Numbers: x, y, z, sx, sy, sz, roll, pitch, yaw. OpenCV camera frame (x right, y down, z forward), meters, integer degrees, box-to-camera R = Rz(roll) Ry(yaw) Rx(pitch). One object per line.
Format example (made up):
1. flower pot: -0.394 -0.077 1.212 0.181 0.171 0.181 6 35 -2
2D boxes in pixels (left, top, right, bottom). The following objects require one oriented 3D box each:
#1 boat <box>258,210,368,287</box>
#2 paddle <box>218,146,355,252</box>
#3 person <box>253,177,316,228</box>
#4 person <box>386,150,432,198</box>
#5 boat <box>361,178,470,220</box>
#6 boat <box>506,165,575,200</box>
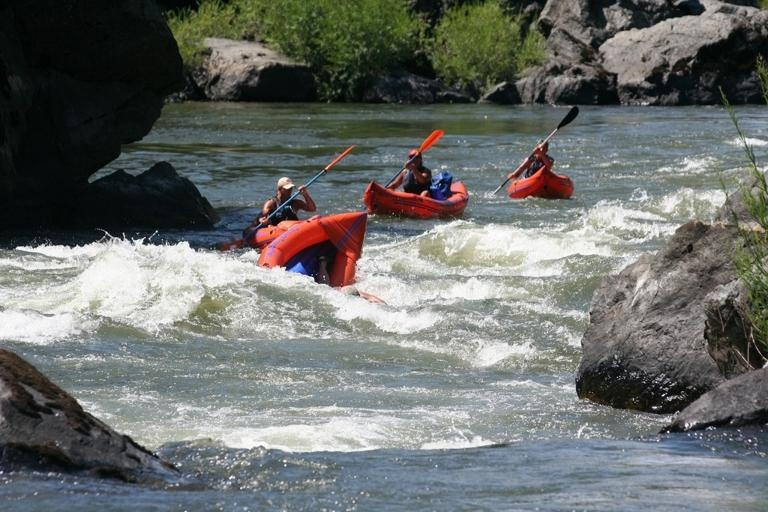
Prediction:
1. boat: -1.611 -0.226 37.529 2.377 1.467 1.469 2 18 -5
2. paddle: -2.630 -1.438 41.910 5.043 1.076 0.349 -36 5 -14
3. person: -2.493 -1.315 39.759 1.051 0.771 1.599 3 -25 -22
4. person: 0.756 -2.001 42.217 1.304 1.627 1.110 11 15 36
5. boat: 0.796 -1.457 41.639 2.609 0.923 0.393 2 18 -3
6. boat: 4.332 -1.986 43.145 1.724 1.064 0.542 13 20 27
